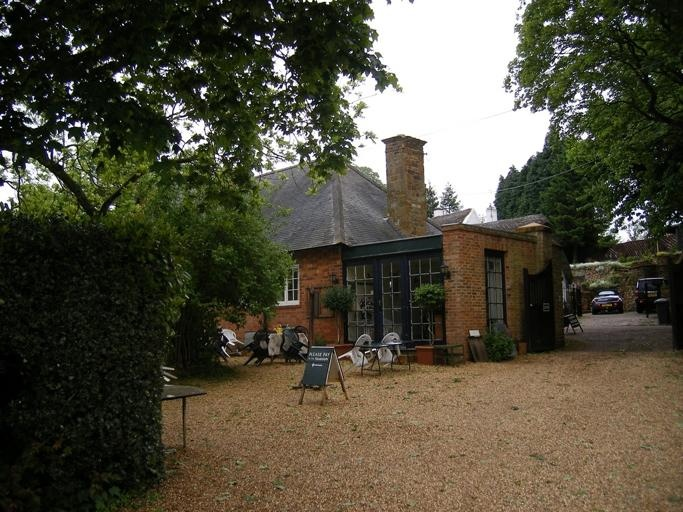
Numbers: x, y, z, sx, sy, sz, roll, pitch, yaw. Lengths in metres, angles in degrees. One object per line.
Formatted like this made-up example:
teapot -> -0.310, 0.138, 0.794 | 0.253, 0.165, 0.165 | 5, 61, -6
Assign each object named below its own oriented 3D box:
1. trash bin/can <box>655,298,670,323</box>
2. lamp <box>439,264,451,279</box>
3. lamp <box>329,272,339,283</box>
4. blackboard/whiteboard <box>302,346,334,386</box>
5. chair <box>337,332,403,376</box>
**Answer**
trash bin/can -> 12.141, 2.100, 20.272 | 0.394, 0.956, 0.955 | -7, -8, 32
lamp -> 2.625, 0.397, 13.510 | 0.164, 0.377, 0.304 | 1, -8, -33
lamp -> -0.204, 0.678, 16.503 | 0.282, 0.398, 0.299 | 1, 3, -7
blackboard/whiteboard -> -0.349, 1.769, 8.620 | 0.525, 0.617, 0.529 | -3, -7, -1
chair -> 0.743, 2.155, 12.087 | 0.855, 0.783, 1.356 | 0, -3, 29
